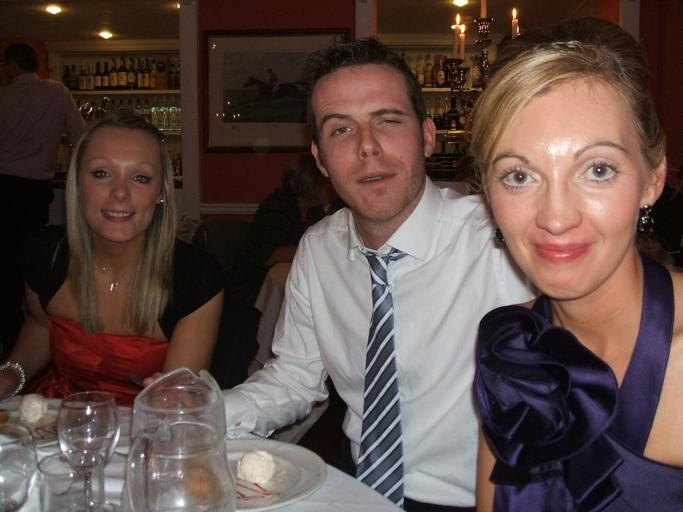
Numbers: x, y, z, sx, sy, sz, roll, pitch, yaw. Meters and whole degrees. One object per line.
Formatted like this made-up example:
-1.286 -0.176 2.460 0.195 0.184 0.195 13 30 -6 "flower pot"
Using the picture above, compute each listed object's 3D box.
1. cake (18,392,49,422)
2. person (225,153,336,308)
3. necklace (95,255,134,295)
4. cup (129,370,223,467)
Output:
-0.814 0.398 1.611 0.054 0.067 0.068 -5 -2 -22 "cake"
-0.340 -0.139 3.862 0.722 1.182 0.790 5 10 -16 "person"
-0.873 0.072 2.334 0.153 0.163 0.123 1 -5 2 "necklace"
-0.278 0.268 1.092 0.093 0.176 0.169 5 12 23 "cup"
